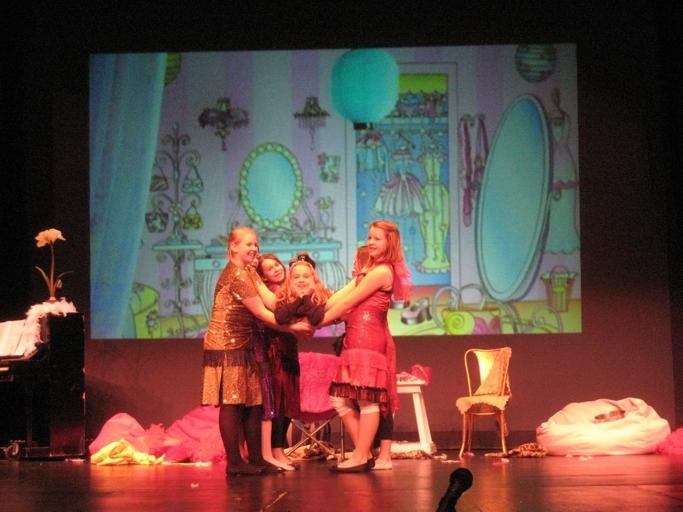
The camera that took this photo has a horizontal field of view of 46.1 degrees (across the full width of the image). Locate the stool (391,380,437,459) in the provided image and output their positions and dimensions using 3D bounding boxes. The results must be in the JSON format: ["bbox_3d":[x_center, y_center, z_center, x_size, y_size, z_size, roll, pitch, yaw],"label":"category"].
[{"bbox_3d":[0.606,1.634,7.955,0.608,0.796,0.649,-2,-17,-2],"label":"stool"}]

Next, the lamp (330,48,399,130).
[{"bbox_3d":[0.281,-1.772,8.756,0.728,0.944,0.794,-1,1,38],"label":"lamp"}]

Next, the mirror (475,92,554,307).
[{"bbox_3d":[1.844,-0.561,8.483,0.777,2.049,0.182,-1,-6,11],"label":"mirror"}]

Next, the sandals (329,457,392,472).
[{"bbox_3d":[0.153,1.677,6.374,0.502,0.126,0.164,3,-11,-8],"label":"sandals"}]

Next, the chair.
[{"bbox_3d":[1.427,1.427,7.989,0.583,1.045,0.951,-1,-7,11],"label":"chair"}]
